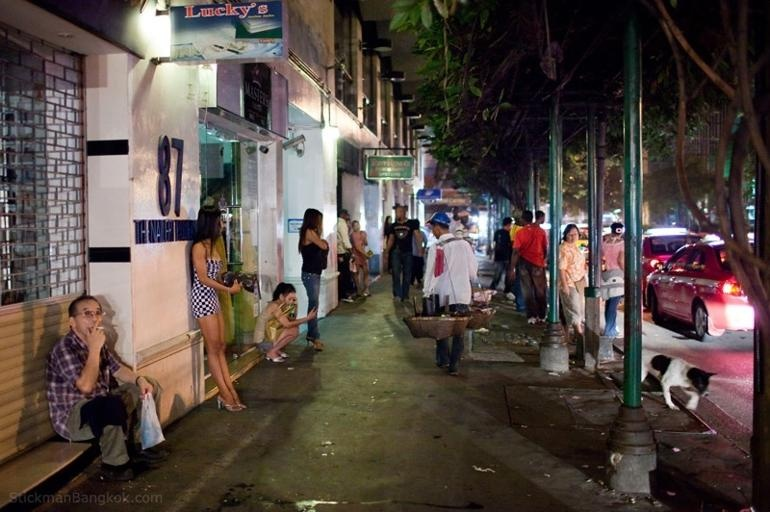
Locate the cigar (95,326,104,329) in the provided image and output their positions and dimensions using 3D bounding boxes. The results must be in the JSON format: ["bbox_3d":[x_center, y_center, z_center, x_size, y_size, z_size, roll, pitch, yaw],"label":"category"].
[{"bbox_3d":[-2.906,0.724,6.153,0.066,0.023,0.091,0,1,-4],"label":"cigar"}]

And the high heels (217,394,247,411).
[{"bbox_3d":[-2.024,1.923,7.995,0.331,0.146,0.187,-1,-3,11],"label":"high heels"}]

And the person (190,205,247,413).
[{"bbox_3d":[-2.172,0.681,7.794,0.600,2.656,0.520,-2,5,-19],"label":"person"}]

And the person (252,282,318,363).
[{"bbox_3d":[-1.826,1.119,10.360,0.813,1.300,0.462,-1,5,-14],"label":"person"}]

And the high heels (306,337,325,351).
[{"bbox_3d":[-1.302,1.614,11.202,0.166,0.175,0.469,1,-3,-26],"label":"high heels"}]

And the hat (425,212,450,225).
[{"bbox_3d":[0.883,-0.609,9.894,0.280,0.161,0.212,11,11,13],"label":"hat"}]

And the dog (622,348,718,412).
[{"bbox_3d":[3.932,1.629,8.124,0.889,0.691,0.723,4,7,37],"label":"dog"}]

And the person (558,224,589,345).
[{"bbox_3d":[3.297,0.400,10.661,0.454,1.883,0.529,1,5,17],"label":"person"}]

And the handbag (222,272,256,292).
[{"bbox_3d":[-1.854,0.315,7.703,0.355,0.146,0.219,0,-3,1],"label":"handbag"}]

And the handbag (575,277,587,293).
[{"bbox_3d":[3.442,0.517,10.644,0.227,0.248,0.233,1,2,-21],"label":"handbag"}]
